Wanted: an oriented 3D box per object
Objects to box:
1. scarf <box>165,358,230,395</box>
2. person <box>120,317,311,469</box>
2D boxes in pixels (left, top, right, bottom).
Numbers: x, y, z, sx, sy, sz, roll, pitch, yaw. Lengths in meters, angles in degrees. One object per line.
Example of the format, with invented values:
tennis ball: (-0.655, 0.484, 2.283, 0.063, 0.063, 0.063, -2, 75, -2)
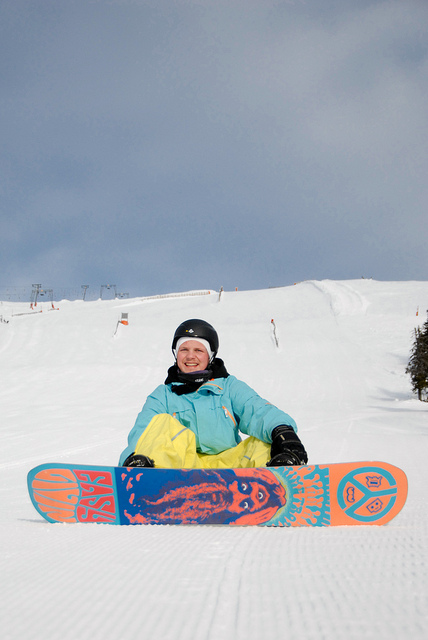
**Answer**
scarf: (-0.138, 0.409, 4.229, 0.279, 0.201, 0.380, -4, 3, 41)
person: (-0.072, 0.477, 3.891, 1.152, 1.114, 1.206, -1, -8, -10)
